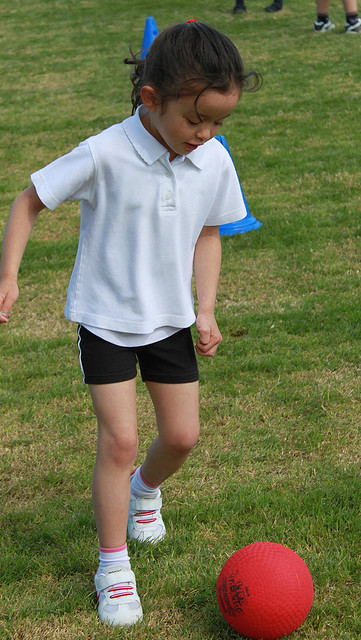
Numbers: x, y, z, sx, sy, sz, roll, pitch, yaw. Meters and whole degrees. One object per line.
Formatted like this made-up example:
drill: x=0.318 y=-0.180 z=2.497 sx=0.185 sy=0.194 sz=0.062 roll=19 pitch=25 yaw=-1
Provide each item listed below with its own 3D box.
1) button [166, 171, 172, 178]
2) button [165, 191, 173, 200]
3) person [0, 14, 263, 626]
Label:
button: x=-0.035 y=-0.443 z=1.982 sx=0.016 sy=0.019 sz=0.006 roll=-6 pitch=18 yaw=-7
button: x=-0.037 y=-0.376 z=1.973 sx=0.022 sy=0.025 sz=0.006 roll=-4 pitch=6 yaw=-14
person: x=-0.122 y=0.006 z=2.135 sx=0.573 sy=1.796 sz=0.893 roll=10 pitch=23 yaw=36
